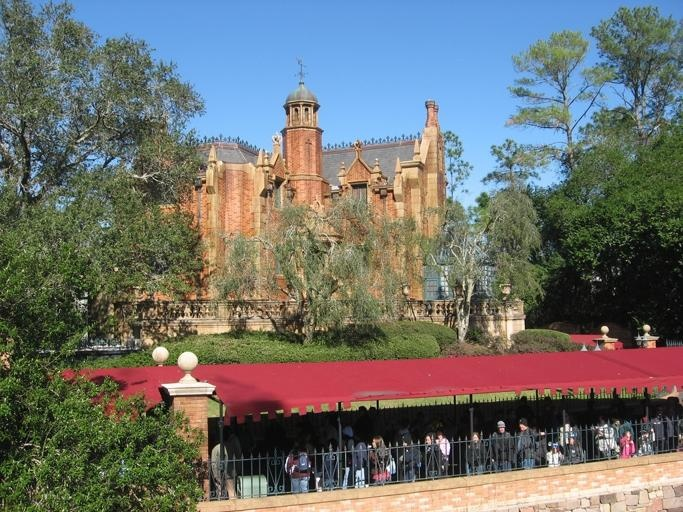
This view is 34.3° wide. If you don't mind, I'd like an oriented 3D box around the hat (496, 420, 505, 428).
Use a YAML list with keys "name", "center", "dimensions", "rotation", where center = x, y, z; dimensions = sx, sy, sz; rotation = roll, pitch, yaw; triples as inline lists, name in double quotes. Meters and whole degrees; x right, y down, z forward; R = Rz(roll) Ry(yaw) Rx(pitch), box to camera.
- name: "hat"
  center: [5.680, 5.898, 39.552]
  dimensions: [0.222, 0.184, 0.329]
  rotation: [-1, -10, -1]

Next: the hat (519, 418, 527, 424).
- name: "hat"
  center: [6.465, 5.792, 39.580]
  dimensions: [0.202, 0.255, 0.290]
  rotation: [1, 4, -18]
